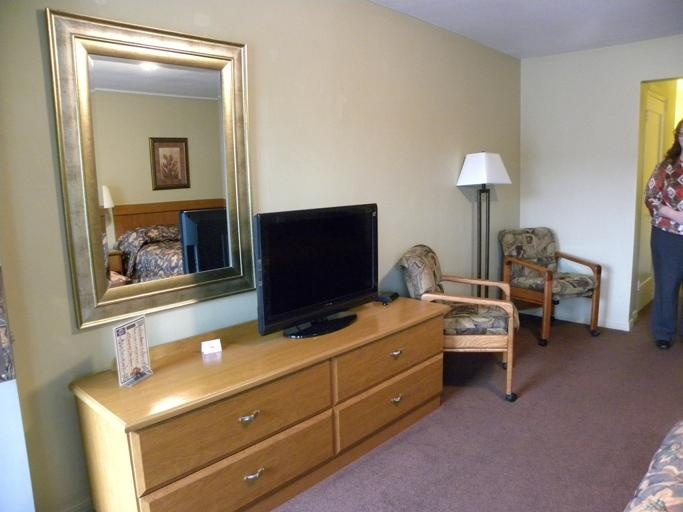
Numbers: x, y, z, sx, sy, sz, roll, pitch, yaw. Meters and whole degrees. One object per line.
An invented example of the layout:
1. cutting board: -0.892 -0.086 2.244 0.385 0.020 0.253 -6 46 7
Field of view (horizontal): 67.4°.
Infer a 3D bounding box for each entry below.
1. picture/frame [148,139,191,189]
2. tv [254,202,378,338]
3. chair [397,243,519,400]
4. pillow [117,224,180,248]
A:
1. picture/frame: -0.905 -0.481 2.645 0.233 0.285 0.024 -11 16 -41
2. tv: -0.170 0.084 2.883 0.722 0.527 0.093 -9 11 -43
3. chair: 0.846 0.404 3.863 1.028 1.121 0.889 0 6 18
4. pillow: -0.996 -0.107 2.599 0.188 0.046 0.115 -16 19 -39
